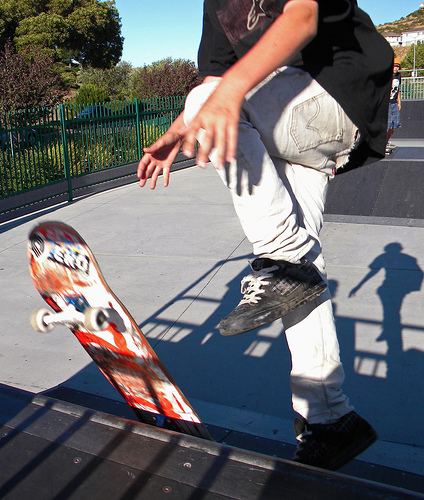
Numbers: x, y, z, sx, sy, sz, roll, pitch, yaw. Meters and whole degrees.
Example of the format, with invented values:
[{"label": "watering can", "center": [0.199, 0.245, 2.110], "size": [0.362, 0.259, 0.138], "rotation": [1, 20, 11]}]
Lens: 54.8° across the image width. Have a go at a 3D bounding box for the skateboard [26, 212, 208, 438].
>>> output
[{"label": "skateboard", "center": [-0.479, 0.391, 2.215], "size": [0.347, 1.331, 0.197], "rotation": [-9, 32, 43]}]
